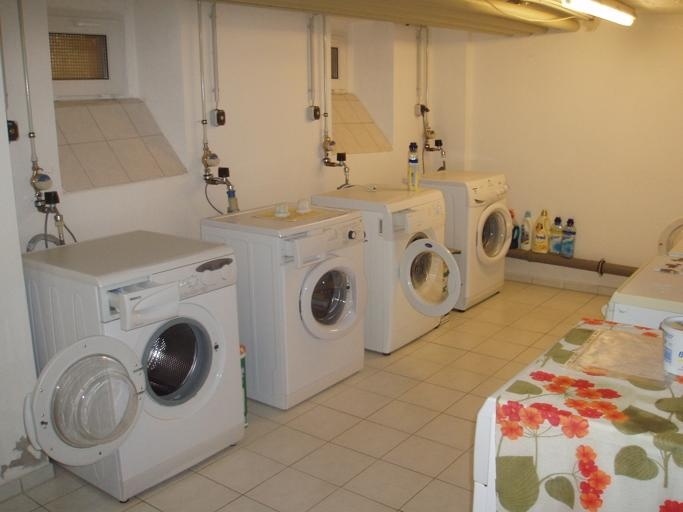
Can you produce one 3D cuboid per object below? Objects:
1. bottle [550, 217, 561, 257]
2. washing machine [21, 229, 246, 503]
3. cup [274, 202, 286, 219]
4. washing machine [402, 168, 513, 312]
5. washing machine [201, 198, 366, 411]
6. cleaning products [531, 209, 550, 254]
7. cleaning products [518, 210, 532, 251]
[{"bbox_3d":[2.080,-0.195,4.940,0.109,0.337,0.119,-3,20,1],"label":"bottle"},{"bbox_3d":[-1.059,0.517,2.717,0.756,1.101,0.827,7,14,29],"label":"washing machine"},{"bbox_3d":[-0.385,-0.285,3.260,0.087,0.089,0.091,-3,14,1],"label":"cup"},{"bbox_3d":[1.127,-0.182,4.841,0.872,1.095,0.838,-8,15,-28],"label":"washing machine"},{"bbox_3d":[-0.339,0.287,3.436,0.888,1.110,0.806,-12,17,-40],"label":"washing machine"},{"bbox_3d":[1.961,-0.245,5.001,0.168,0.405,0.238,5,21,21],"label":"cleaning products"},{"bbox_3d":[1.846,-0.253,5.088,0.115,0.361,0.165,4,21,19],"label":"cleaning products"}]
